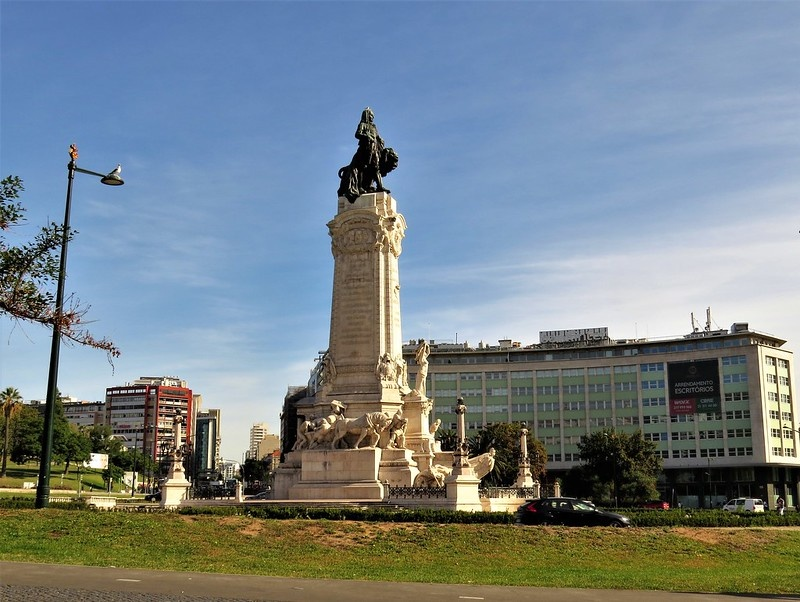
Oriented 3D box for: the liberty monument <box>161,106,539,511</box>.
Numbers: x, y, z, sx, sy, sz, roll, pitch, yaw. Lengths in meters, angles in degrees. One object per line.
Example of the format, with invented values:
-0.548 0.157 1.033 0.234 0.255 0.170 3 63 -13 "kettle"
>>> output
-2.235 0.048 55.181 20.654 22.003 21.597 -3 4 -33 "liberty monument"
